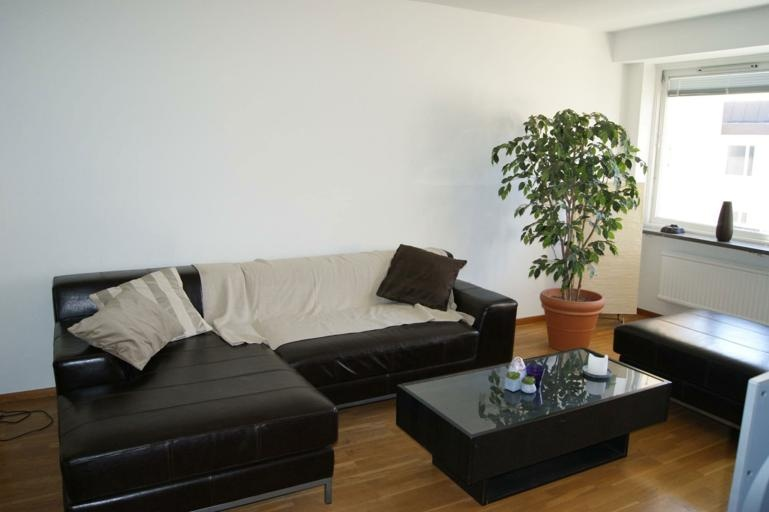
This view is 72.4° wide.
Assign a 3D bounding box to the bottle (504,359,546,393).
[{"bbox_3d":[0.983,0.850,3.728,0.213,0.182,0.270,-6,8,-44],"label":"bottle"}]

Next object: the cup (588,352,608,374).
[{"bbox_3d":[1.579,0.802,3.953,0.153,0.148,0.154,3,5,0],"label":"cup"}]

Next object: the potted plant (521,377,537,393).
[{"bbox_3d":[0.999,0.893,3.642,0.078,0.085,0.121,0,3,3],"label":"potted plant"}]

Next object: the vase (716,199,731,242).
[{"bbox_3d":[3.623,-0.365,5.583,0.148,0.422,0.267,9,16,32],"label":"vase"}]

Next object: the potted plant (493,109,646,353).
[{"bbox_3d":[1.969,-0.294,5.561,1.384,2.396,1.256,-11,18,-40],"label":"potted plant"}]
